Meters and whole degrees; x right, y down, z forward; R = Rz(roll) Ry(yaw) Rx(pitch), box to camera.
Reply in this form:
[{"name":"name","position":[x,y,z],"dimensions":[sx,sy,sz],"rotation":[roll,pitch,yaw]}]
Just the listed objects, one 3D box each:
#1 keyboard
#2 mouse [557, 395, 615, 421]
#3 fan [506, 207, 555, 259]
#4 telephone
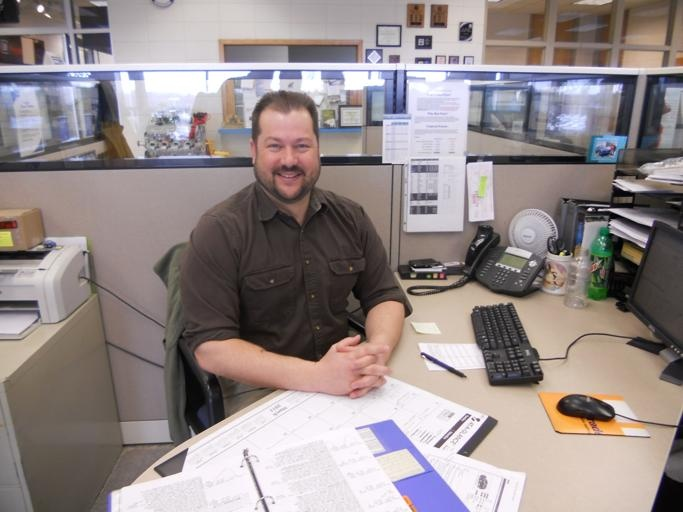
[{"name":"keyboard","position":[0.543,0.276,1.594],"dimensions":[0.179,0.063,0.414],"rotation":[-2,26,7]},{"name":"mouse","position":[0.657,0.412,1.294],"dimensions":[0.116,0.040,0.069],"rotation":[0,20,11]},{"name":"fan","position":[0.781,-0.103,2.049],"dimensions":[0.200,0.197,0.049],"rotation":[-2,0,42]},{"name":"telephone","position":[0.699,0.006,1.977],"dimensions":[0.209,0.172,0.273],"rotation":[-24,28,-30]}]
